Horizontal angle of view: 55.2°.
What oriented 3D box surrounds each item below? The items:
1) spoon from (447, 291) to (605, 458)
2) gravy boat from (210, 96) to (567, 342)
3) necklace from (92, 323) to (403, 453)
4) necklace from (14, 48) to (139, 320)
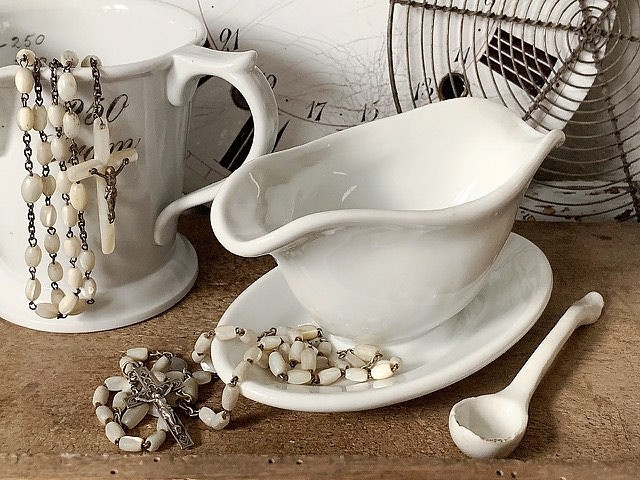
[{"bbox_3d":[0.241,0.108,0.700,0.070,0.068,0.330,23,50,32],"label":"spoon"},{"bbox_3d":[0.110,0.007,0.735,0.402,0.196,0.247,-26,40,-20],"label":"gravy boat"},{"bbox_3d":[-0.084,0.143,0.647,0.259,0.058,0.140,-12,37,-14],"label":"necklace"},{"bbox_3d":[-0.264,-0.040,0.670,0.121,0.319,0.043,6,30,-8],"label":"necklace"}]
